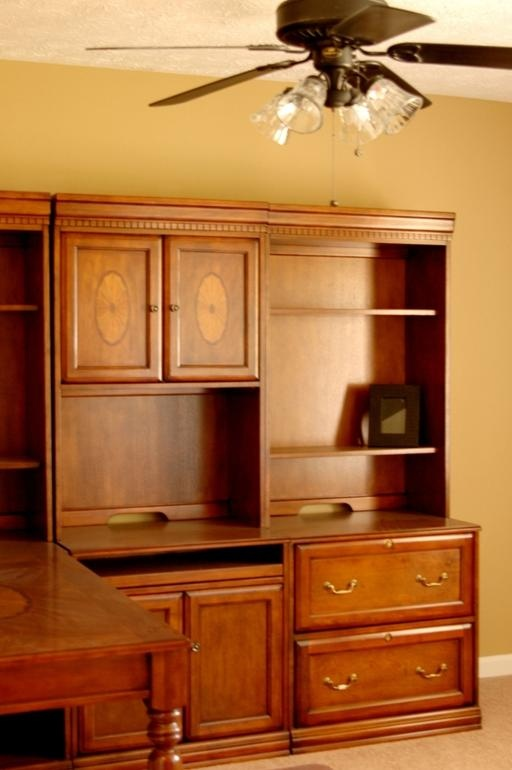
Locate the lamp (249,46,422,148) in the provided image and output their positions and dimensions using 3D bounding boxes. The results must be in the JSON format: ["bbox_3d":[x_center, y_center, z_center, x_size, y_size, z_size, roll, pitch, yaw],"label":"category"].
[{"bbox_3d":[0.182,-0.649,1.775,0.357,0.158,0.345,-5,9,-16],"label":"lamp"}]

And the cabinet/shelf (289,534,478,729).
[{"bbox_3d":[0.437,0.894,2.935,0.866,0.660,0.314,0,-1,-18],"label":"cabinet/shelf"}]

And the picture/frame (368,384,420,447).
[{"bbox_3d":[0.570,0.129,3.282,0.266,0.298,0.173,1,-4,7],"label":"picture/frame"}]

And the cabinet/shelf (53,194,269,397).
[{"bbox_3d":[-0.357,-0.321,2.797,0.820,0.629,0.273,0,1,-18],"label":"cabinet/shelf"}]
